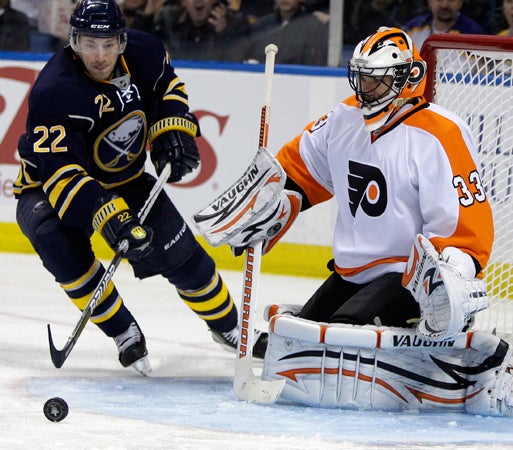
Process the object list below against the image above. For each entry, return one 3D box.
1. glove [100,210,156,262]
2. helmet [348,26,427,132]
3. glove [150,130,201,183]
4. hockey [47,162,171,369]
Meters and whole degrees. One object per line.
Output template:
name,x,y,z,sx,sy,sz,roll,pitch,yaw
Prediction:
glove,-0.453,0.045,2.899,0.169,0.214,0.271,0,7,7
helmet,0.445,-0.493,2.677,0.264,0.355,0.146,-2,8,-7
glove,-0.283,-0.263,3.172,0.275,0.127,0.200,-7,-9,31
hockey,-0.581,0.172,3.116,0.067,0.958,0.214,30,-13,-1
